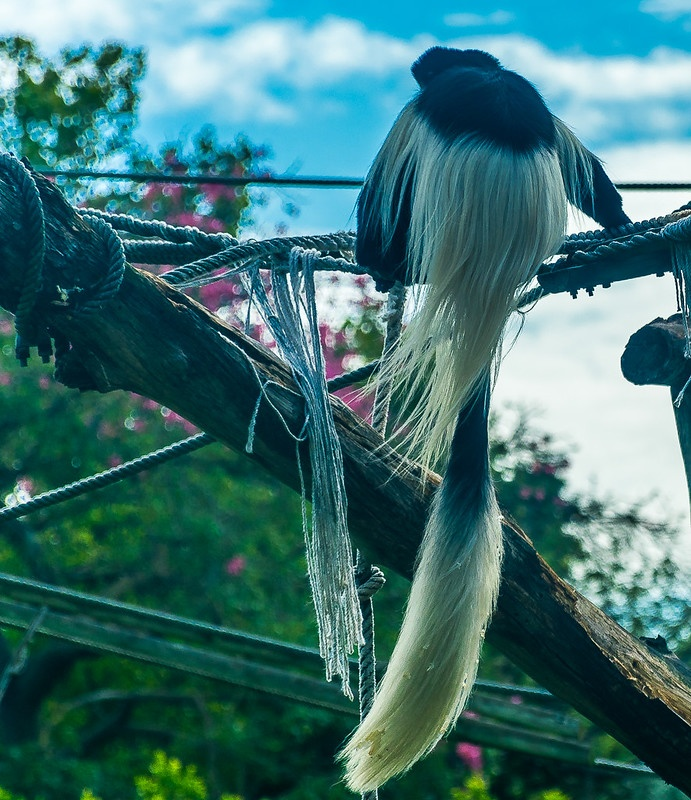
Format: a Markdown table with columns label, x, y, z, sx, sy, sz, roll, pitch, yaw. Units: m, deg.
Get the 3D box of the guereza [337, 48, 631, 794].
| label | x | y | z | sx | sy | sz | roll | pitch | yaw |
| --- | --- | --- | --- | --- | --- | --- | --- | --- | --- |
| guereza | 0.294 | 0.012 | 6.113 | 0.836 | 2.552 | 1.086 | 3 | -1 | -41 |
